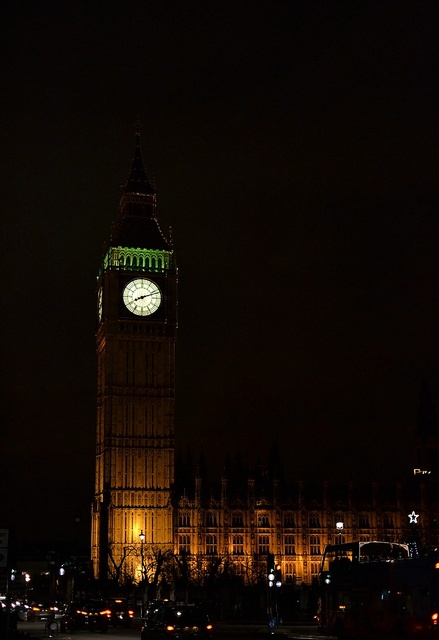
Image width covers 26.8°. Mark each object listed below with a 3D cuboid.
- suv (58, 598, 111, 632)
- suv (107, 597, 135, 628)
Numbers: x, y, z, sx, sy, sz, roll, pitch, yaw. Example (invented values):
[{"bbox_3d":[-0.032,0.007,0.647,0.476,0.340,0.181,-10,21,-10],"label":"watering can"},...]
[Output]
[{"bbox_3d":[-6.470,14.452,44.839,2.199,1.584,1.596,2,-22,-6],"label":"suv"},{"bbox_3d":[-5.340,16.154,50.320,1.314,1.350,2.474,2,-3,-9],"label":"suv"}]
